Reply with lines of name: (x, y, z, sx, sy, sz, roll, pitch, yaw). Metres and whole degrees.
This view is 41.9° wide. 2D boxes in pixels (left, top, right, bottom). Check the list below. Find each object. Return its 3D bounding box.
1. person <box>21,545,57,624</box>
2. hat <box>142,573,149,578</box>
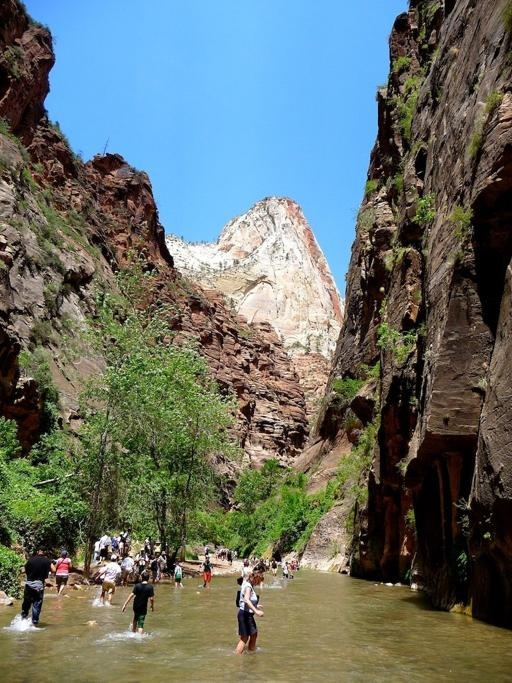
person: (-3.949, 4.354, 11.901, 0.425, 1.297, 0.838, 10, -19, -14)
hat: (-1.824, 3.853, 11.038, 0.086, 0.103, 0.103, 7, -55, -4)
